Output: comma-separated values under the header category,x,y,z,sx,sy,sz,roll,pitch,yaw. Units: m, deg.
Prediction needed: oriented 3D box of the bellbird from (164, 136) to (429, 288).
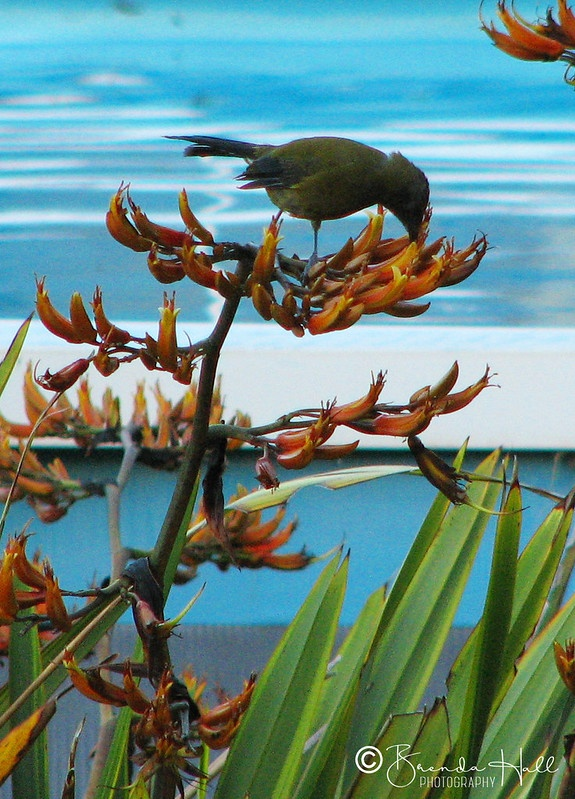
category,x,y,z,sx,sy,sz,roll,pitch,yaw
bellbird,0.023,-0.263,2.911,0.311,0.208,0.132,9,23,10
